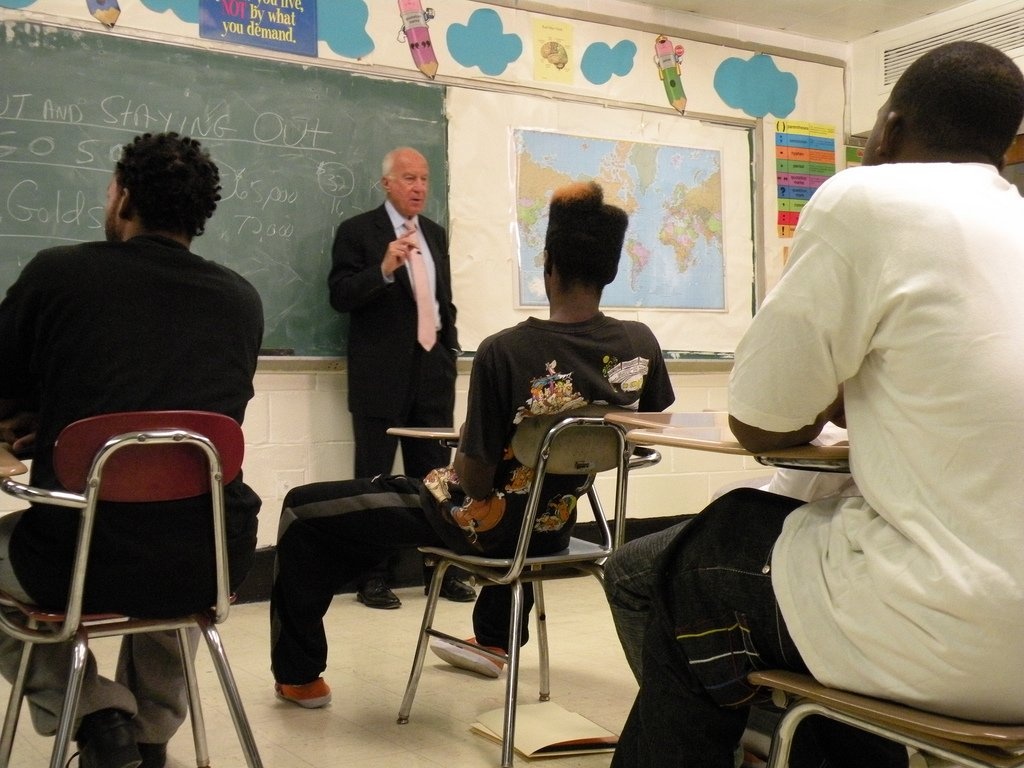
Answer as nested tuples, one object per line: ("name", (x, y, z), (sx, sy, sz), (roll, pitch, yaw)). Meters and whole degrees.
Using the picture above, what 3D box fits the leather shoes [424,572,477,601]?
("leather shoes", (-0.297, 0.915, 3.906), (0.121, 0.136, 0.325), (1, -2, -40))

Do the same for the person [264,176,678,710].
("person", (-0.111, 0.211, 2.574), (1.066, 1.568, 0.932), (5, 3, 26))

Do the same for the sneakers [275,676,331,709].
("sneakers", (-0.637, 0.915, 2.543), (0.159, 0.081, 0.075), (5, 2, 41))
